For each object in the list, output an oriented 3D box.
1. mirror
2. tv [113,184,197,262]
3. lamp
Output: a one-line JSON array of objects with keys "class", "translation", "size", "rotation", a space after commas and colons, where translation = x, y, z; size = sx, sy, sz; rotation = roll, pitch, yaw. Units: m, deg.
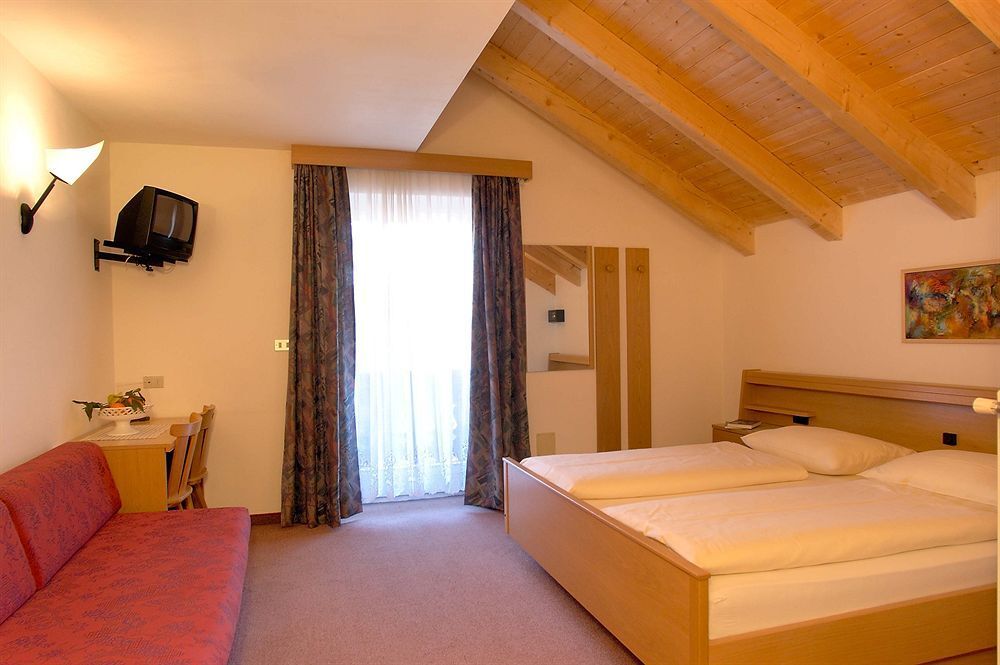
[{"class": "mirror", "translation": [0.528, -0.224, 6.255], "size": [0.594, 1.084, 0.336], "rotation": [-1, 12, -5]}, {"class": "tv", "translation": [-2.662, -0.798, 5.383], "size": [0.497, 0.435, 0.462], "rotation": [4, -5, 22]}, {"class": "lamp", "translation": [-2.906, -0.944, 4.598], "size": [0.479, 0.560, 0.649], "rotation": [-8, 14, -34]}]
